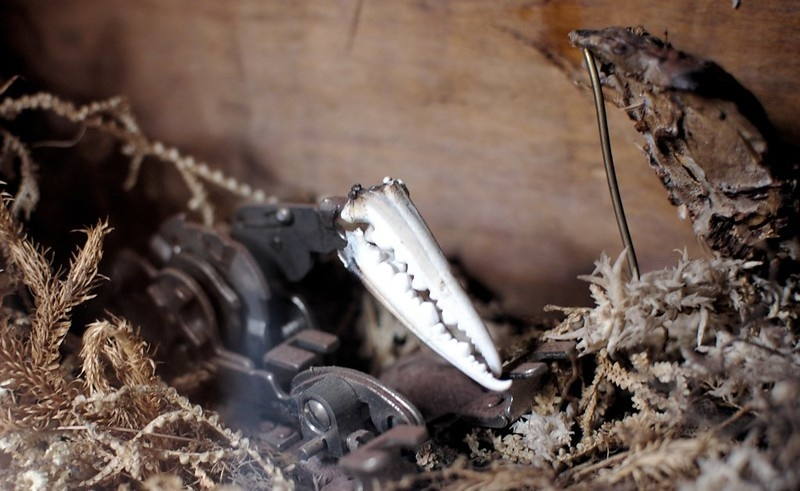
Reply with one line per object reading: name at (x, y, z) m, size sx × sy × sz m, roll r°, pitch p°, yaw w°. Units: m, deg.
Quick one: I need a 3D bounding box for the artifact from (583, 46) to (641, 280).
artifact at (0.425, -0.150, 2.048) m, size 0.073 × 0.634 × 0.057 m, roll -5°, pitch 11°, yaw 20°

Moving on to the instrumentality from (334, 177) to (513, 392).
instrumentality at (0.042, 0.060, 2.100) m, size 0.207 × 0.543 × 0.158 m, roll -40°, pitch -3°, yaw 13°

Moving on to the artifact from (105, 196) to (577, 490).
artifact at (-0.181, 0.181, 2.109) m, size 0.612 × 0.447 × 0.578 m, roll 26°, pitch 34°, yaw 29°
